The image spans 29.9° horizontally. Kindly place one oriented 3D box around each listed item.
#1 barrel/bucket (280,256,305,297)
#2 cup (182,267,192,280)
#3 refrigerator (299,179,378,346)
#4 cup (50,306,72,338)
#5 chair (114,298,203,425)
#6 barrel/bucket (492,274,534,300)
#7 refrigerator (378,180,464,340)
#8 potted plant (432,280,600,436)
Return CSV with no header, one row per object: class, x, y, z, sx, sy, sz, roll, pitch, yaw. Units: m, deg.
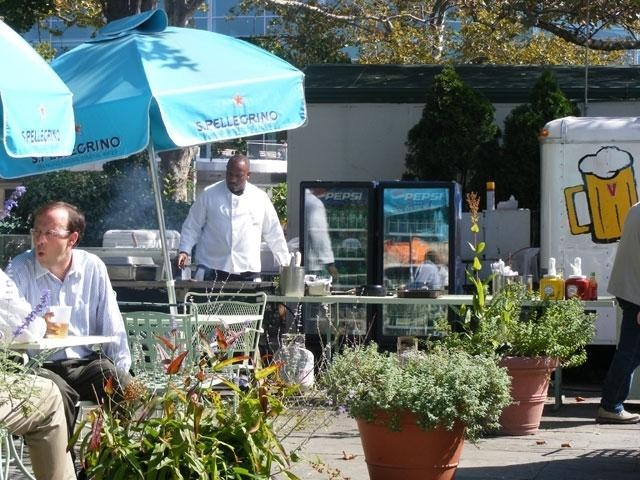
barrel/bucket,-0.289,0.342,12.051,0.194,0.414,0.217,8,6,24
cup,-1.509,0.384,13.571,0.078,0.162,0.157,2,1,20
refrigerator,0.170,0.501,14.702,1.034,2.391,0.800,-2,-33,1
cup,-2.008,0.634,9.326,0.179,0.248,0.195,0,-10,0
chair,-1.329,1.002,9.774,0.800,1.164,0.694,0,3,8
barrel/bucket,1.861,0.430,11.541,0.242,0.207,0.267,2,1,8
refrigerator,1.220,-0.197,14.946,1.174,2.770,1.534,0,43,4
potted plant,1.840,0.973,11.492,1.507,1.973,1.302,2,-7,-10
